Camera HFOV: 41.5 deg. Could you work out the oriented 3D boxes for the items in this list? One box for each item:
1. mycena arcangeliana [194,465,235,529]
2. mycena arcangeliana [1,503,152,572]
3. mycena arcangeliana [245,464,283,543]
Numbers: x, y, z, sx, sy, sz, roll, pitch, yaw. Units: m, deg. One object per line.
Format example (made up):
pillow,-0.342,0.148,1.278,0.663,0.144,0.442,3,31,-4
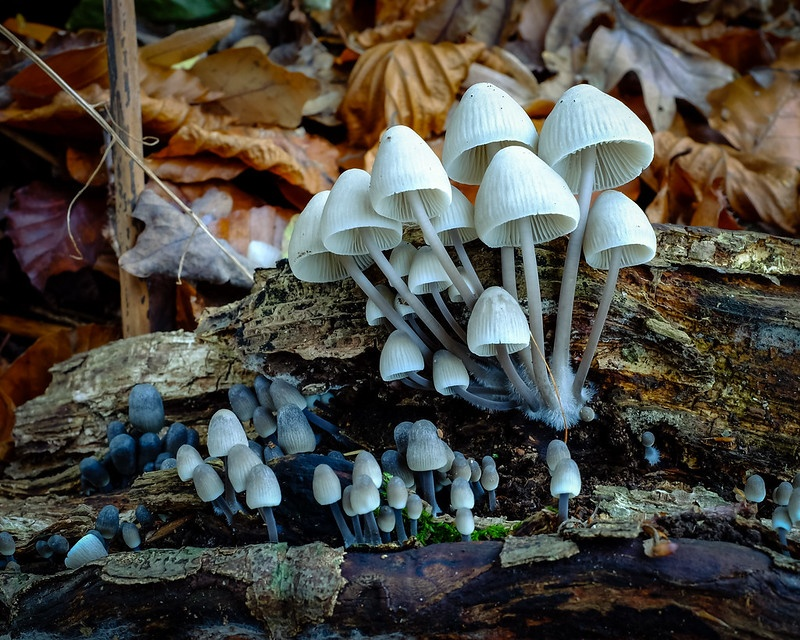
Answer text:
mycena arcangeliana,-1.062,1.007,6.064,0.142,0.424,0.131,-30,39,-4
mycena arcangeliana,-1.870,1.286,6.174,0.775,0.377,0.219,-14,-3,12
mycena arcangeliana,-0.773,1.042,5.937,0.194,0.575,0.201,2,28,8
